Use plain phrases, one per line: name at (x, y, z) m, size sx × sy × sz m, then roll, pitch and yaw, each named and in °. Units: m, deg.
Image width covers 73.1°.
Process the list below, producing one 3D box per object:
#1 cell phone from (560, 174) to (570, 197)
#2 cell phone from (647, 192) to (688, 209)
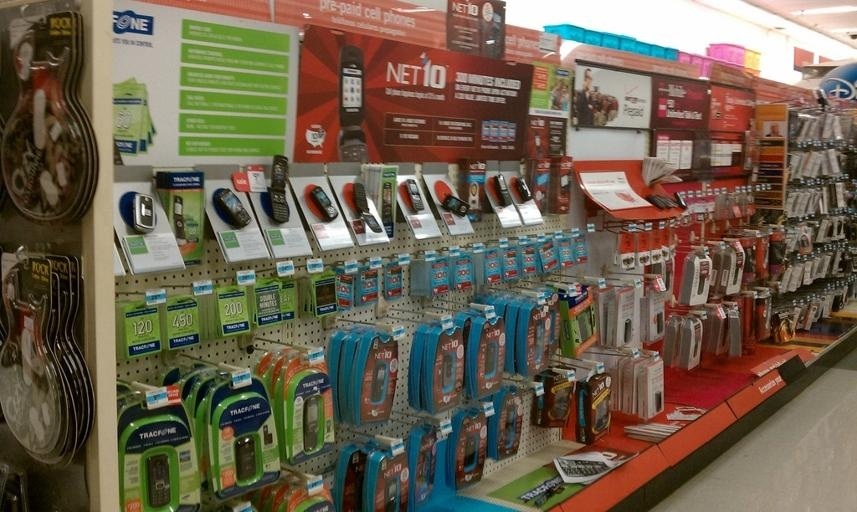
cell phone at (0.937, -0.479, 3.934) m, size 0.030 × 0.123 × 0.097 m, roll 5°, pitch 11°, yaw 40°
cell phone at (1.912, -0.443, 4.664) m, size 0.293 × 0.086 × 0.049 m, roll 2°, pitch -29°, yaw -43°
